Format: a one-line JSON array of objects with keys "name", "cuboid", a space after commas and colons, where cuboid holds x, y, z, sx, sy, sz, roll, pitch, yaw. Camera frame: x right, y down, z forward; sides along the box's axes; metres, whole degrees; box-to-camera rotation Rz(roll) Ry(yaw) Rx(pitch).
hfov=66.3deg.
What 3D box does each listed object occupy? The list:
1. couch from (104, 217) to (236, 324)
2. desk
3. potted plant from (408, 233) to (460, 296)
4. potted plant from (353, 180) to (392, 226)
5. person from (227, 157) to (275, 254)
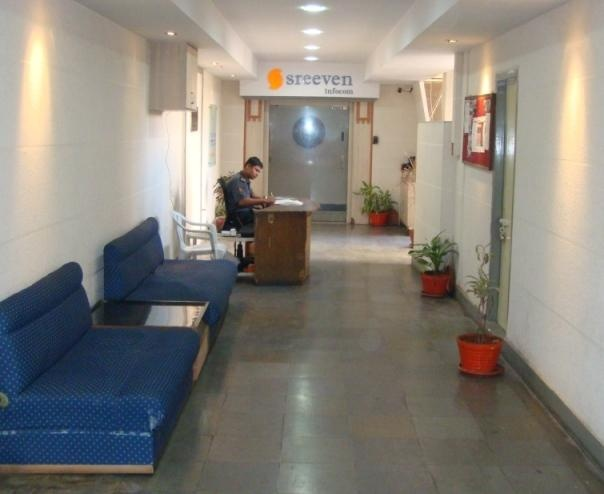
[{"name": "couch", "cuboid": [-1.230, 0.282, 4.633, 0.851, 0.713, 1.473, 2, 8, -2]}, {"name": "desk", "cuboid": [-0.246, -0.268, 6.921, 0.788, 1.100, 1.592, 0, 10, 0]}, {"name": "potted plant", "cuboid": [1.784, 0.237, 6.428, 0.781, 0.901, 0.597, 7, -8, -32]}, {"name": "potted plant", "cuboid": [1.764, -1.136, 11.770, 0.961, 1.154, 0.961, 1, 9, 10]}, {"name": "person", "cuboid": [-0.875, -0.653, 7.442, 0.677, 1.542, 0.632, 9, 19, 12]}]
